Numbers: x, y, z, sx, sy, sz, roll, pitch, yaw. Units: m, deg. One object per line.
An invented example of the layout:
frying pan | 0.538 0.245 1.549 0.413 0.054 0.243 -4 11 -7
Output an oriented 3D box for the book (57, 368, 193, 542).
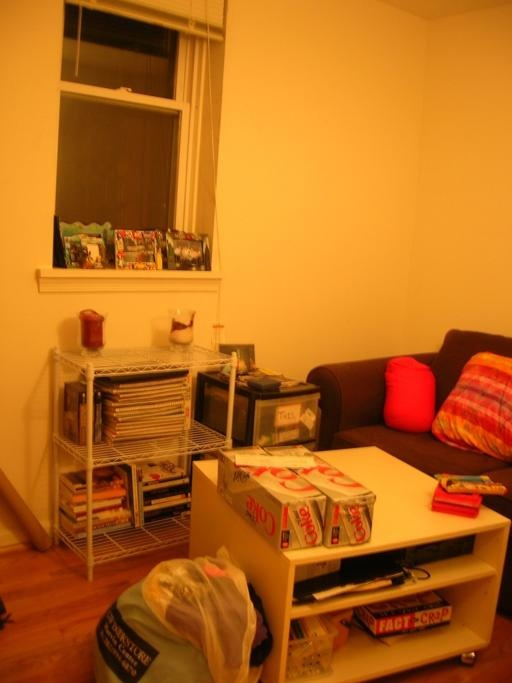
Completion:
book | -0.474 0.389 1.929 0.561 0.675 0.253 -5 13 -30

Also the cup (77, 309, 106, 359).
cup | -0.551 -0.035 1.851 0.119 0.177 0.124 2 9 0

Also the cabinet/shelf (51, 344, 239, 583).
cabinet/shelf | -0.400 0.391 2.001 0.527 0.701 0.328 -1 7 -34

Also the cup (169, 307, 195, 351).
cup | -0.273 -0.049 2.052 0.127 0.181 0.117 1 4 0

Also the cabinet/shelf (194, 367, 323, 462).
cabinet/shelf | 0.000 0.288 2.214 0.422 0.314 0.418 -9 20 -40
